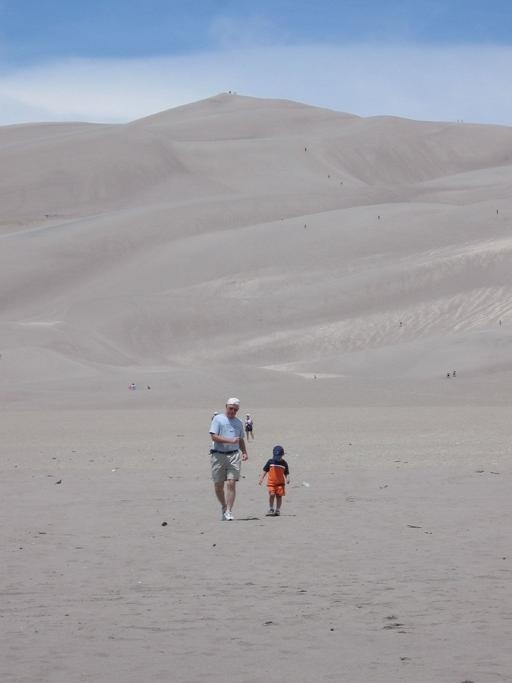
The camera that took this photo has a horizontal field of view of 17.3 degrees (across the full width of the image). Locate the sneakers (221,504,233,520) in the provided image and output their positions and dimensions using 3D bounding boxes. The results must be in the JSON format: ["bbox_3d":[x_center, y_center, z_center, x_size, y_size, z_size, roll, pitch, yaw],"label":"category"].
[{"bbox_3d":[-0.292,1.722,16.988,0.115,0.178,0.384,0,-5,-8],"label":"sneakers"}]

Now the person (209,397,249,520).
[{"bbox_3d":[-0.292,1.195,16.930,0.369,1.228,0.506,0,-3,10],"label":"person"}]
